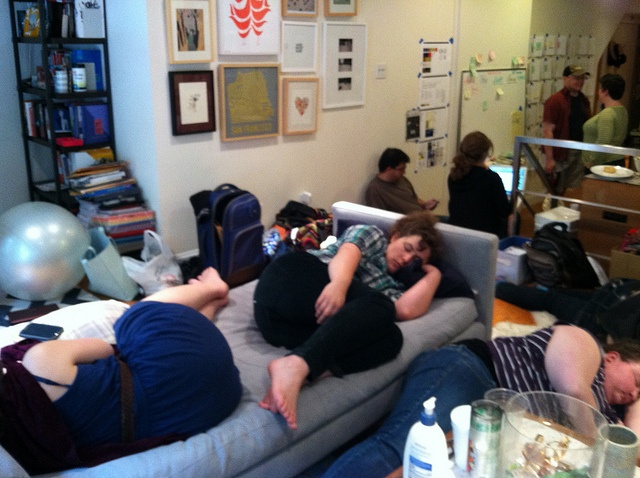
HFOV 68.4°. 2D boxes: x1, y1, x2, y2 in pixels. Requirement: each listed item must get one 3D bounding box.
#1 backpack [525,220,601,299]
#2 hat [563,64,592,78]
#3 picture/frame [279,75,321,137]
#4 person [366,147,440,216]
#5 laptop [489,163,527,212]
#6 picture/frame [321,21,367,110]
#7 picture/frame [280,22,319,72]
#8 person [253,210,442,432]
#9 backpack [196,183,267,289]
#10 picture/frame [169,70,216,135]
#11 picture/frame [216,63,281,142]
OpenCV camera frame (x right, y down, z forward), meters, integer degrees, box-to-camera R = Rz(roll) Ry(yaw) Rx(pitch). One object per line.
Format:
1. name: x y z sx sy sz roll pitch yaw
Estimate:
1. backpack: 1.817 0.161 3.531 0.478 0.542 0.362 -5 14 46
2. hat: 2.683 -1.757 4.960 0.199 0.112 0.253 9 23 22
3. picture/frame: -0.176 -1.064 3.745 0.066 0.547 0.437 12 16 43
4. person: 0.755 -0.481 4.378 0.511 0.678 0.736 16 28 39
5. laptop: 1.590 -0.416 3.981 0.185 0.360 0.355 -15 22 -39
6. picture/frame: 0.184 -1.474 3.954 0.632 0.816 0.075 -13 20 -42
7. picture/frame: -0.174 -1.498 3.662 0.376 0.398 0.036 -11 20 -37
8. person: 0.165 0.415 2.292 0.492 0.358 0.994 6 21 30
9. backpack: -0.584 0.001 3.042 0.342 0.651 0.476 12 23 34
10. picture/frame: -0.891 -0.939 3.222 0.377 0.494 0.032 -13 20 -40
11. picture/frame: -0.552 -1.018 3.472 0.513 0.558 0.061 -14 25 -35
